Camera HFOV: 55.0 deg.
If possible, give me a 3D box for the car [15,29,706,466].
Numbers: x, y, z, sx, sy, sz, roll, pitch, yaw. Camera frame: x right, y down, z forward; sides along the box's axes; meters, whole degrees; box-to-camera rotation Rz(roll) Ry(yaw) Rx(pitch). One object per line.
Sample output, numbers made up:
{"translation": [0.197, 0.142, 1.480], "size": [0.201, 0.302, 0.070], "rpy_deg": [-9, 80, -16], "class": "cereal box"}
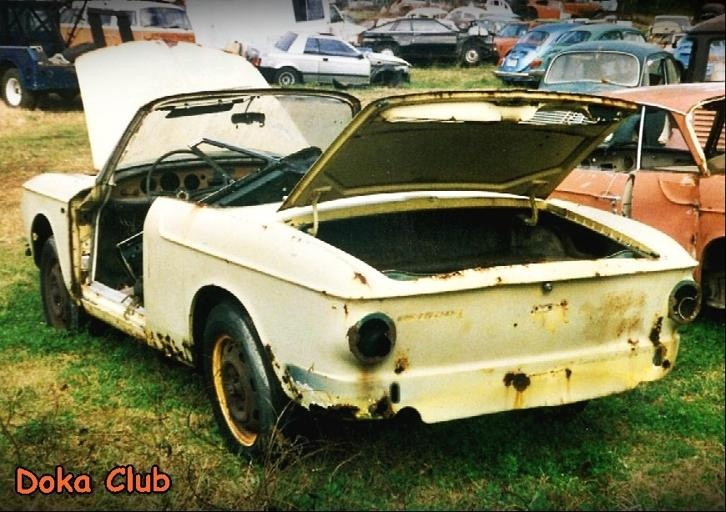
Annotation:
{"translation": [-0.217, -0.164, 4.894], "size": [4.462, 2.164, 2.389], "rpy_deg": [16, 29, 35], "class": "car"}
